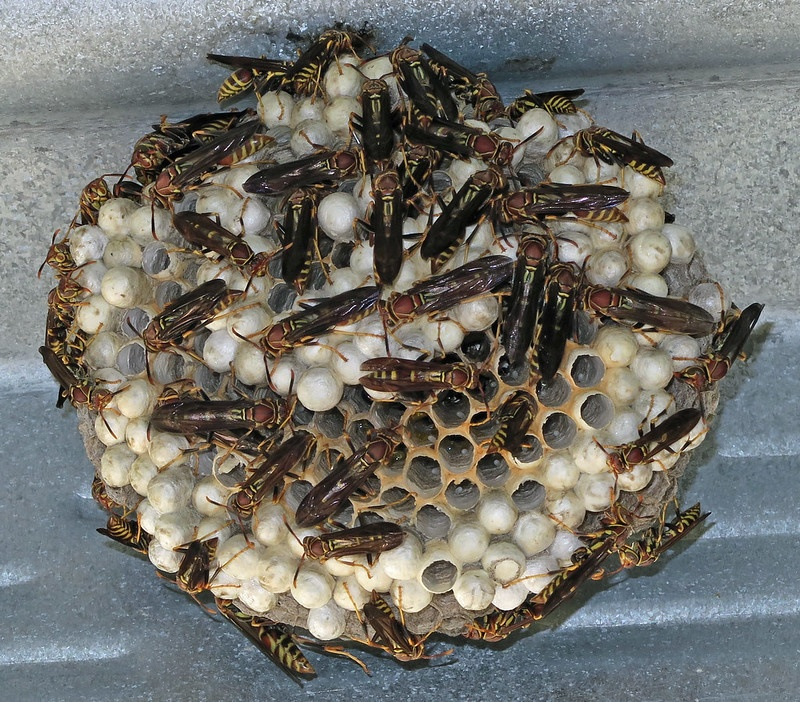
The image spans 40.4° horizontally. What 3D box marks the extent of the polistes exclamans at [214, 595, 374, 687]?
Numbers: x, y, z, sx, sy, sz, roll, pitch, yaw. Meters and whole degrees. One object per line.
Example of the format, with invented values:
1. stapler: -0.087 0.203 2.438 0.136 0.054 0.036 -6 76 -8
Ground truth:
1. polistes exclamans: -0.493 1.218 4.554 0.202 0.796 0.351 -59 19 26

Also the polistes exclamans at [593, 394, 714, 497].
1. polistes exclamans: 0.934 0.319 3.848 0.411 0.123 0.231 -26 77 6

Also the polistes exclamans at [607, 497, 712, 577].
1. polistes exclamans: 1.093 0.749 4.490 0.478 0.112 0.310 -24 22 -19

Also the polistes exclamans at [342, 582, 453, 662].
1. polistes exclamans: 0.006 1.051 4.100 0.347 0.447 0.119 -29 46 24

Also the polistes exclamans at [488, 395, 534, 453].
1. polistes exclamans: 0.395 0.260 3.825 0.172 0.092 0.203 38 119 30
